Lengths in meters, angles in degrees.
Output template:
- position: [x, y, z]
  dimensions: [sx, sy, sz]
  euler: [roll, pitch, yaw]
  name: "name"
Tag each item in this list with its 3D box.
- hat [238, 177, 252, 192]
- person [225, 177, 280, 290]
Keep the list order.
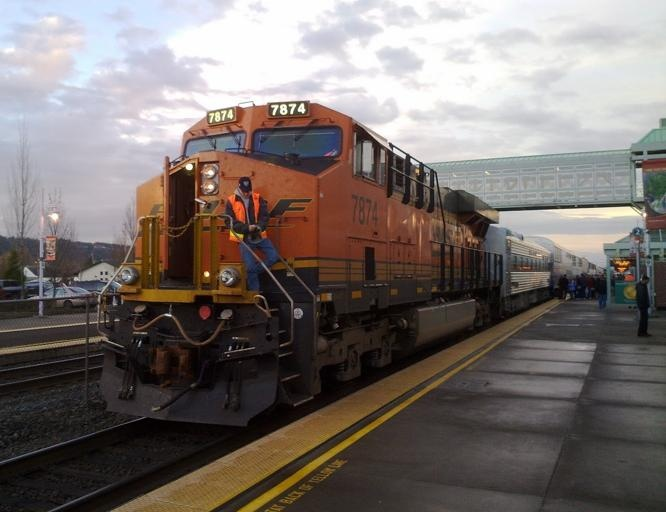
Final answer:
- position: [-1.247, -1.044, 7.166]
  dimensions: [0.174, 0.222, 0.226]
  euler: [-1, -2, -19]
  name: "hat"
- position: [-1.151, -0.342, 7.157]
  dimensions: [0.797, 1.331, 0.504]
  euler: [0, 0, -19]
  name: "person"
